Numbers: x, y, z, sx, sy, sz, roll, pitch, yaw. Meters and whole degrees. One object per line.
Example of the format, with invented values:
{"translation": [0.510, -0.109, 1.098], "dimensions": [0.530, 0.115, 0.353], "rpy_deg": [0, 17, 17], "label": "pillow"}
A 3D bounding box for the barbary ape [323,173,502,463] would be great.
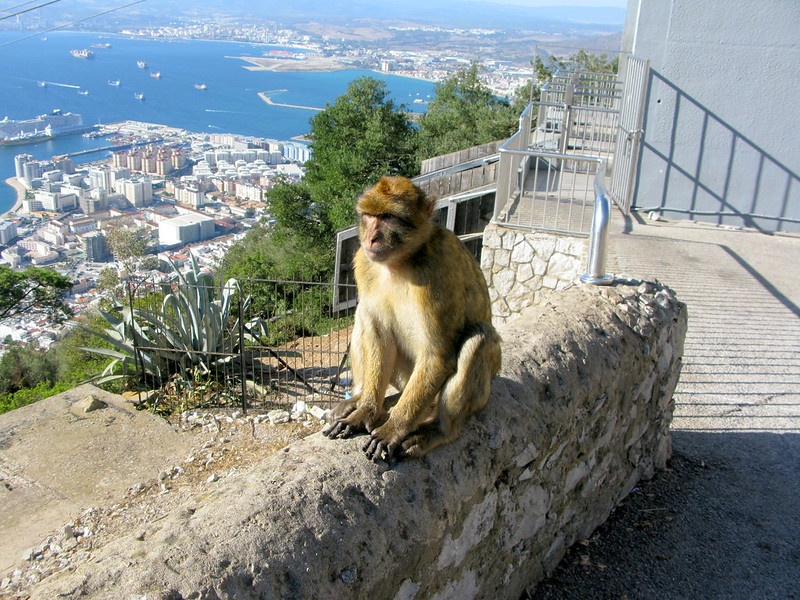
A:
{"translation": [0.098, 0.045, 3.086], "dimensions": [0.768, 1.416, 1.088], "rpy_deg": [4, 14, 12], "label": "barbary ape"}
